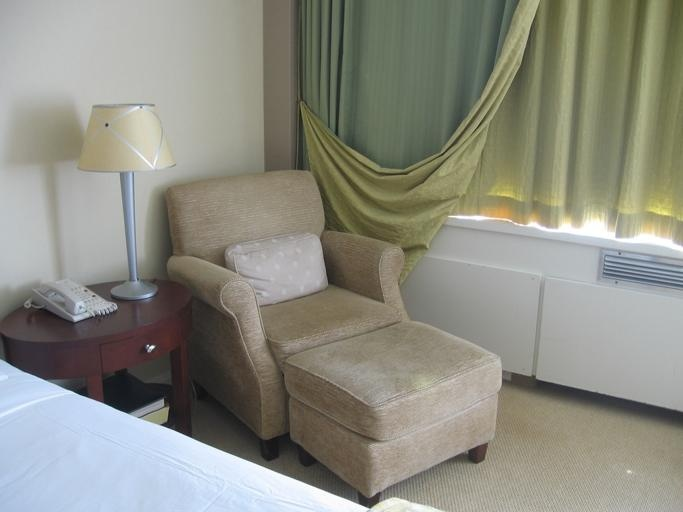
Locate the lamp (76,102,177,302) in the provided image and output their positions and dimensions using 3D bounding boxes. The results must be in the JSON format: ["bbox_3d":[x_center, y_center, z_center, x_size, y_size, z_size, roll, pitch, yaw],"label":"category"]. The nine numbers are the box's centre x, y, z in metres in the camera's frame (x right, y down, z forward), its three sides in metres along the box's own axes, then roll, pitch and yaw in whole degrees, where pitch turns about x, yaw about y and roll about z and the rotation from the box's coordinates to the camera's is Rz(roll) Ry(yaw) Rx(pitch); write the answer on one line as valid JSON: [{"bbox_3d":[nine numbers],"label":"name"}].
[{"bbox_3d":[-0.876,-0.238,2.244,0.258,0.783,0.343,15,25,39],"label":"lamp"}]

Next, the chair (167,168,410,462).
[{"bbox_3d":[-0.239,0.202,2.670,1.118,1.195,1.191,6,14,32],"label":"chair"}]

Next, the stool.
[{"bbox_3d":[0.177,0.351,2.089,0.753,0.544,0.590,-14,23,-34],"label":"stool"}]

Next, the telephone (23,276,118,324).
[{"bbox_3d":[-1.086,0.168,2.109,0.265,0.089,0.194,19,19,21],"label":"telephone"}]
